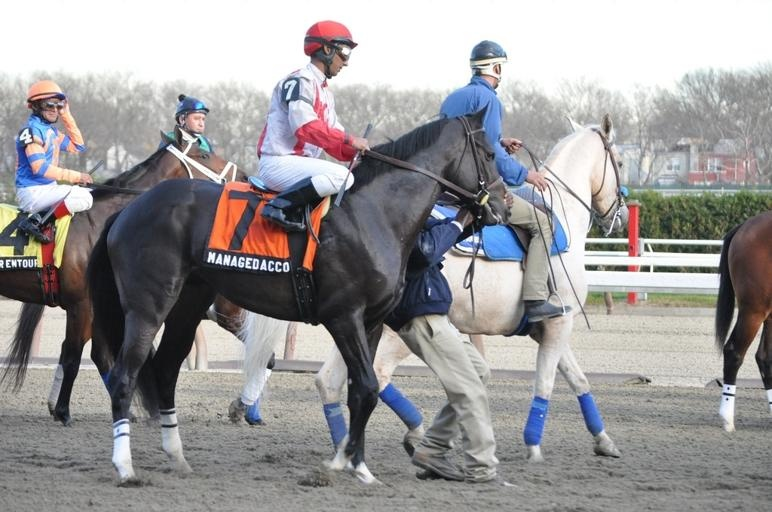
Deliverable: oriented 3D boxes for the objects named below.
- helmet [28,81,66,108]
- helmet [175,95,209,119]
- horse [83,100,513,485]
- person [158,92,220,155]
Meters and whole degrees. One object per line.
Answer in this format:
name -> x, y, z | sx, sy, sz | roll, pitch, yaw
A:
helmet -> -3.773, -1.770, 12.979 | 0.373, 0.182, 0.289 | -6, 3, 20
helmet -> -2.391, -1.794, 14.199 | 0.430, 0.266, 0.314 | -5, 5, 4
horse -> -0.832, 0.524, 11.741 | 4.344, 3.344, 1.359 | 1, -12, 0
person -> -2.441, -1.575, 14.240 | 0.654, 0.789, 0.714 | 3, 5, 14
